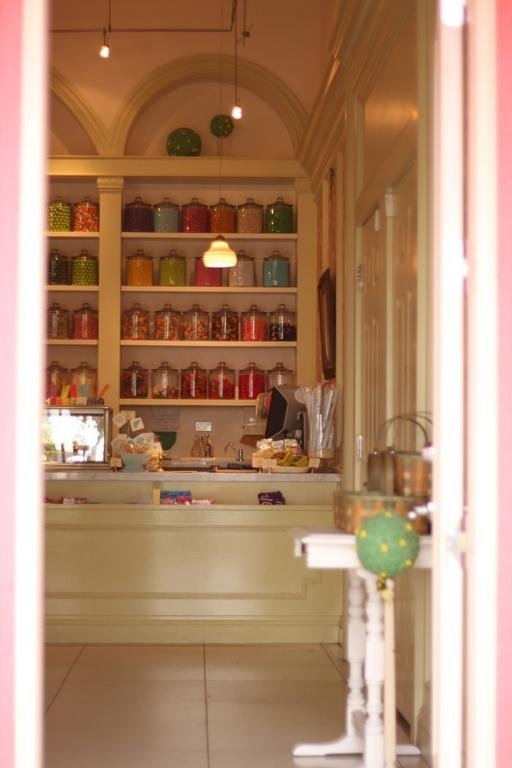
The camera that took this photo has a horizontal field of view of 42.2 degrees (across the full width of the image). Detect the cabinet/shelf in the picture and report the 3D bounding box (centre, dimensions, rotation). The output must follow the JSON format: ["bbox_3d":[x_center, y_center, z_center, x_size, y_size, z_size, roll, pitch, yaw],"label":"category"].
[{"bbox_3d":[-0.583,-0.951,5.355,2.137,3.196,0.745,0,-6,3],"label":"cabinet/shelf"}]
